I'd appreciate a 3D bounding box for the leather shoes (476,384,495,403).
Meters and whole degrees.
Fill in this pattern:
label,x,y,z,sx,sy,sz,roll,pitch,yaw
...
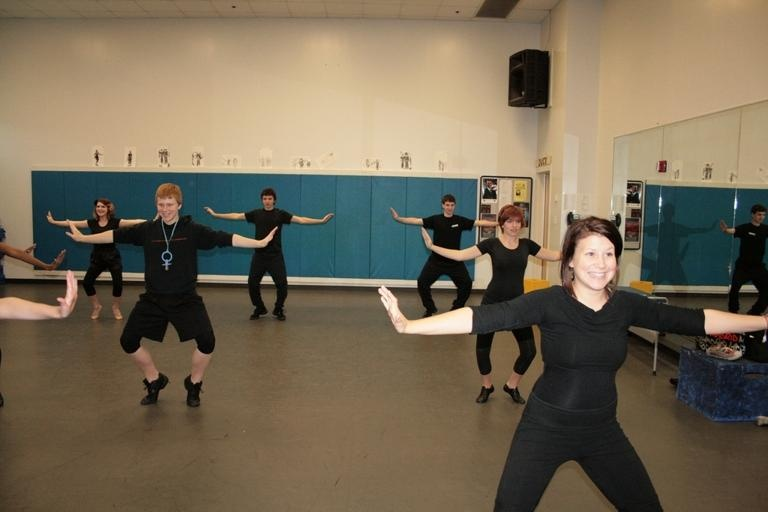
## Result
label,x,y,z,sx,sy,sz,roll,pitch,yaw
leather shoes,1.198,1.635,6.654,0.111,0.127,0.305,-4,-1,31

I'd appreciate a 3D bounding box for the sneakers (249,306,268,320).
label,x,y,z,sx,sy,sz,roll,pitch,yaw
sneakers,-2.194,1.002,9.787,0.149,0.159,0.344,-8,-7,24

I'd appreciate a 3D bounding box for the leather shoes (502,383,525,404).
label,x,y,z,sx,sy,sz,roll,pitch,yaw
leather shoes,1.549,1.634,6.663,0.317,0.137,0.119,40,37,24

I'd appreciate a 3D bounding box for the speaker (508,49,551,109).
label,x,y,z,sx,sy,sz,roll,pitch,yaw
speaker,3.058,-3.703,11.653,0.709,1.266,1.278,-1,6,-4

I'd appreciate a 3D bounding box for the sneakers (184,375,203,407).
label,x,y,z,sx,sy,sz,roll,pitch,yaw
sneakers,-2.196,1.542,6.447,0.153,0.181,0.421,5,24,-13
